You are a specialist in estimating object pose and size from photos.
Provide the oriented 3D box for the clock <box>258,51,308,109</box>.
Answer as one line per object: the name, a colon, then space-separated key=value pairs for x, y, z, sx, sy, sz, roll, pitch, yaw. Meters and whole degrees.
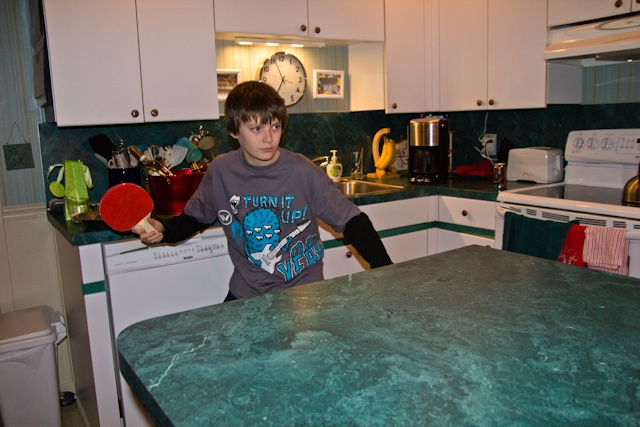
clock: x=-0.248 y=-0.953 z=3.085 sx=0.405 sy=0.390 sz=0.083 roll=-3 pitch=15 yaw=-29

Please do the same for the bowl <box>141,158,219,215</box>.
bowl: x=-0.802 y=-0.154 z=2.498 sx=0.356 sy=0.239 sz=0.303 roll=1 pitch=9 yaw=4

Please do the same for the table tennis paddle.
table tennis paddle: x=-0.685 y=-0.020 z=1.529 sx=0.166 sy=0.167 sz=0.048 roll=-7 pitch=13 yaw=-20

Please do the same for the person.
person: x=-0.243 y=0.008 z=1.752 sx=0.874 sy=0.955 sz=0.814 roll=-6 pitch=15 yaw=-31

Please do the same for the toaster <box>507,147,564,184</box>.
toaster: x=1.518 y=-0.347 z=3.057 sx=0.185 sy=0.255 sz=0.337 roll=-15 pitch=15 yaw=-21

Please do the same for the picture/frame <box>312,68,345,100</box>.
picture/frame: x=0.051 y=-0.974 z=3.250 sx=0.256 sy=0.213 sz=0.027 roll=-2 pitch=13 yaw=-17

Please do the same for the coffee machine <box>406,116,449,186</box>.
coffee machine: x=0.804 y=-0.459 z=3.191 sx=0.282 sy=0.475 sz=0.159 roll=0 pitch=12 yaw=11

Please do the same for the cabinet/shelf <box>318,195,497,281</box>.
cabinet/shelf: x=0.479 y=0.092 z=3.034 sx=1.254 sy=0.514 sz=0.629 roll=-9 pitch=17 yaw=-37

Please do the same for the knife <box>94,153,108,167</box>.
knife: x=-1.326 y=-0.318 z=2.611 sx=0.056 sy=0.088 sz=0.195 roll=-10 pitch=14 yaw=-30

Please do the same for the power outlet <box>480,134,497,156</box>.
power outlet: x=1.343 y=-0.535 z=3.419 sx=0.066 sy=0.175 sz=0.170 roll=-2 pitch=3 yaw=-24
